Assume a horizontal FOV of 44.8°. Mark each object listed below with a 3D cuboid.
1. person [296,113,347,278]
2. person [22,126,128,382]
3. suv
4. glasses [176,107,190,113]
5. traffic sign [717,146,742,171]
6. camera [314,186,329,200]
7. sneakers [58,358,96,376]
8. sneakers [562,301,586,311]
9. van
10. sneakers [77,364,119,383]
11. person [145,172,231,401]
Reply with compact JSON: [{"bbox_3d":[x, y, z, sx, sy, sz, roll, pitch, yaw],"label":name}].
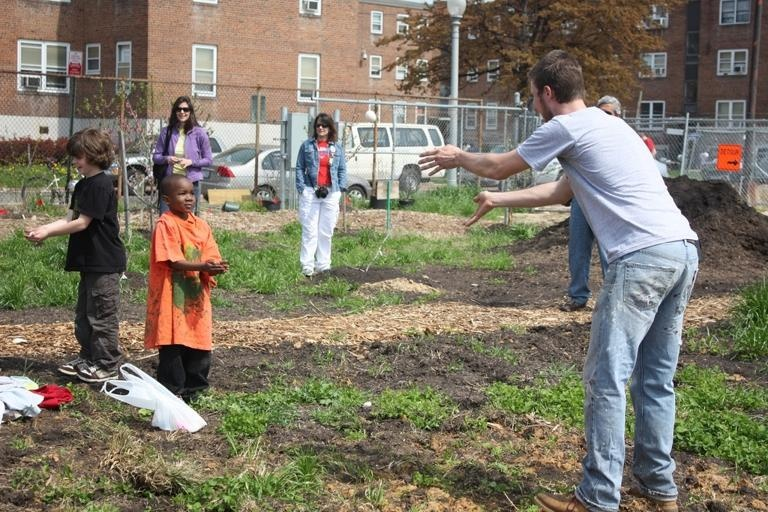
[{"bbox_3d":[-0.991,-0.920,13.867,0.656,2.354,0.819,5,11,16],"label":"person"},{"bbox_3d":[-3.053,-0.012,9.580,0.736,2.525,0.669,-1,11,-17],"label":"person"},{"bbox_3d":[-4.949,-1.731,18.063,3.106,1.595,1.773,0,6,-7],"label":"suv"},{"bbox_3d":[-2.953,-2.140,13.679,0.174,0.080,0.082,-5,13,-33],"label":"glasses"},{"bbox_3d":[8.845,-2.503,23.787,0.534,0.653,0.443,5,11,14],"label":"traffic sign"},{"bbox_3d":[-0.922,-0.938,13.762,0.201,0.190,0.066,1,11,-5],"label":"camera"},{"bbox_3d":[-3.197,1.143,9.643,0.375,0.157,0.146,7,18,-33],"label":"sneakers"},{"bbox_3d":[2.469,0.646,12.038,0.282,0.117,0.128,3,1,-7],"label":"sneakers"},{"bbox_3d":[0.176,-2.721,24.661,3.180,1.497,1.607,0,2,-39],"label":"van"},{"bbox_3d":[-2.978,1.207,9.595,0.420,0.179,0.168,15,0,-28],"label":"sneakers"},{"bbox_3d":[-1.972,0.305,9.220,0.781,2.154,0.564,-1,11,-15],"label":"person"}]
